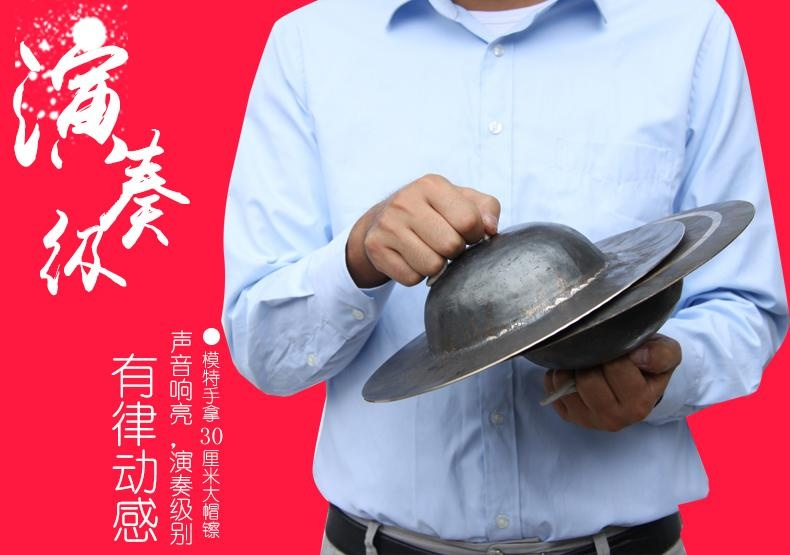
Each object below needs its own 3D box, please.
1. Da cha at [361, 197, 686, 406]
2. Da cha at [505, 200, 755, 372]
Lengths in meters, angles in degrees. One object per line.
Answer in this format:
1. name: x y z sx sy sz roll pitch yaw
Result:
1. Da cha: 0.386 0.085 3.616 1.057 0.534 0.316 -12 -29 12
2. Da cha: 0.741 -0.066 3.610 0.573 0.201 0.618 -34 -9 38
